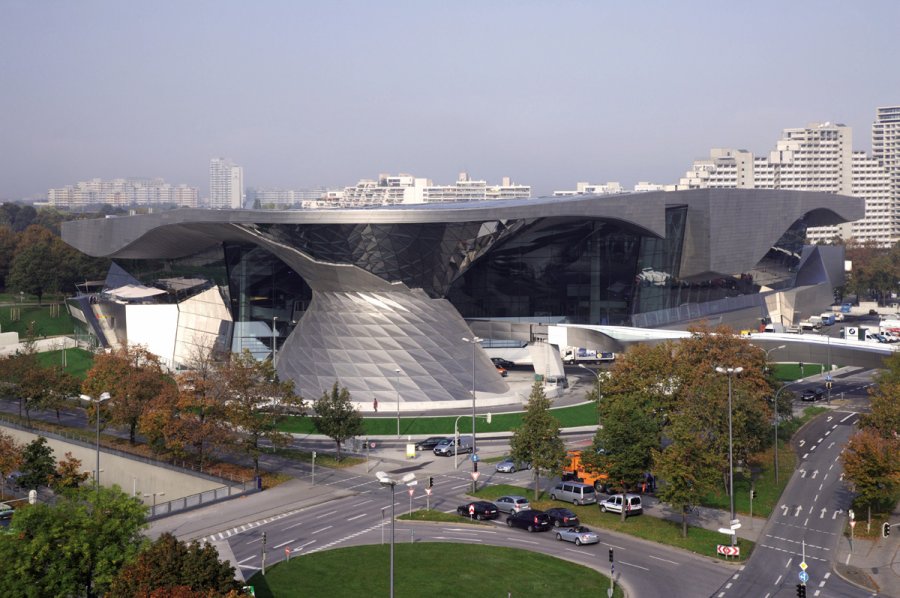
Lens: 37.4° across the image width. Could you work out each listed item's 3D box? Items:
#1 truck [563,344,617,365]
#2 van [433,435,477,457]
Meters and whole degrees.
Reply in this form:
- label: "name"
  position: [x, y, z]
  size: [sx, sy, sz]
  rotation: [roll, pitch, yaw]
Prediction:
- label: "truck"
  position: [13.692, 5.851, 134.274]
  size: [6.461, 2.014, 1.833]
  rotation: [2, -2, 5]
- label: "van"
  position: [0.294, 11.483, 102.109]
  size: [2.873, 1.076, 1.498]
  rotation: [2, -2, -33]
